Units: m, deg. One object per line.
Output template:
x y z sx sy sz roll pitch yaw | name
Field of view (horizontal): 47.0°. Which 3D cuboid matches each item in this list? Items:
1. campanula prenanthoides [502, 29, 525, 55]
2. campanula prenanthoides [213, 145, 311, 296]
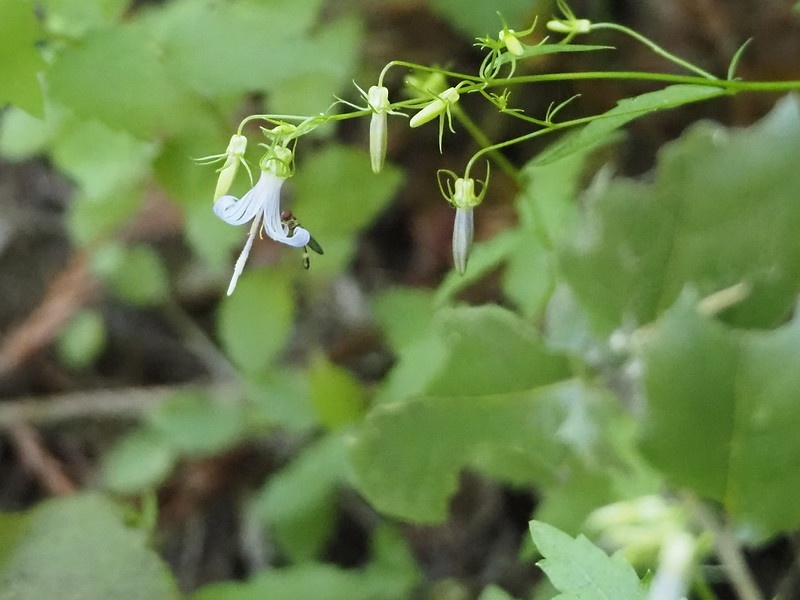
0.274 -0.620 2.226 0.038 0.024 0.075 -14 74 -17 | campanula prenanthoides
-0.408 -0.225 2.671 0.206 0.464 0.221 21 17 -24 | campanula prenanthoides
